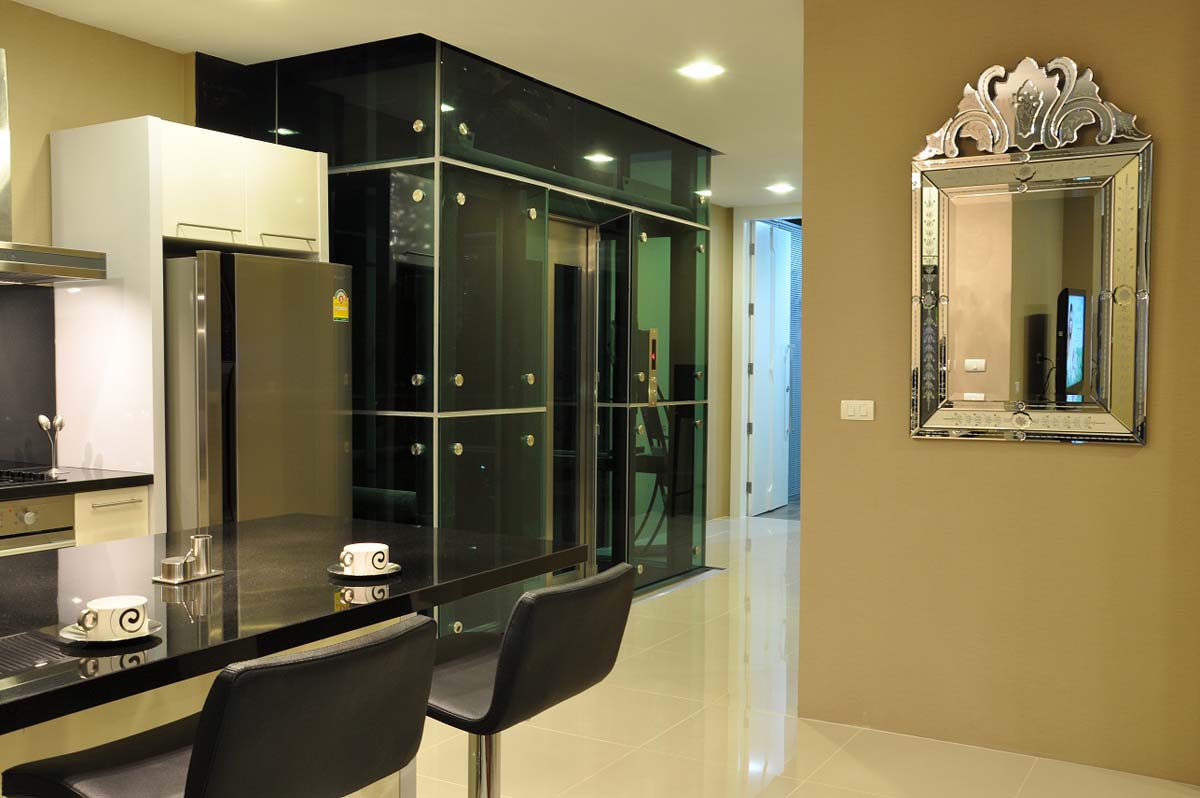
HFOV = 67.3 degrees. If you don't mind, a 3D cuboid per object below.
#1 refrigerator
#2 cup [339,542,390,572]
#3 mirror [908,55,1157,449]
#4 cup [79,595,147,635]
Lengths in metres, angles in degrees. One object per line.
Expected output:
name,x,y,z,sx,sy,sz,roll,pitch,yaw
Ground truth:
refrigerator,-1.822,-0.053,4.862,0.990,1.450,0.287,-4,7,-27
cup,-0.752,0.496,2.857,0.089,0.055,0.121,3,5,33
mirror,1.960,-0.679,4.145,0.995,1.717,0.149,2,7,20
cup,-1.307,0.570,2.409,0.101,0.067,0.137,4,4,44
